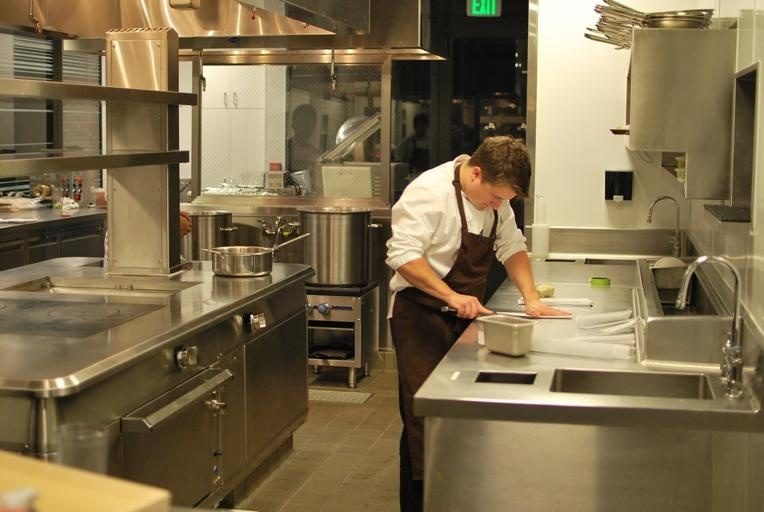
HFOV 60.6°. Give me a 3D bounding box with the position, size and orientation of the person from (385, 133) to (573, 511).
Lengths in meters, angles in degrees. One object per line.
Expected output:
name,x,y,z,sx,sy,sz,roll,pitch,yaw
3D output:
person,0.420,0.342,3.246,0.792,1.833,0.523,-4,10,-25

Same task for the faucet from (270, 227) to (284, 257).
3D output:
faucet,-0.875,-0.128,5.436,0.044,0.265,0.080,1,-6,27
